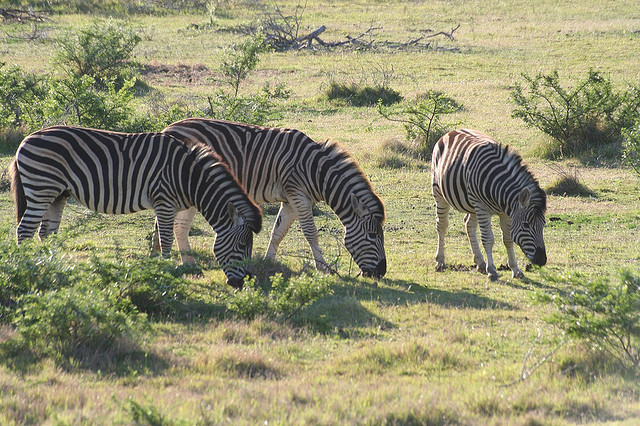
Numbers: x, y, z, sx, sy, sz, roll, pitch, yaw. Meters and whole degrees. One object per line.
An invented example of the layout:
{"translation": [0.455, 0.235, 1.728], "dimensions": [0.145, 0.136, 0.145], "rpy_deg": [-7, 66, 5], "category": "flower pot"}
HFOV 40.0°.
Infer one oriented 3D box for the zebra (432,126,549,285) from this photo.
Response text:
{"translation": [4.007, -0.164, 21.072], "dimensions": [2.989, 3.600, 1.004], "rpy_deg": [5, 5, 44], "category": "zebra"}
